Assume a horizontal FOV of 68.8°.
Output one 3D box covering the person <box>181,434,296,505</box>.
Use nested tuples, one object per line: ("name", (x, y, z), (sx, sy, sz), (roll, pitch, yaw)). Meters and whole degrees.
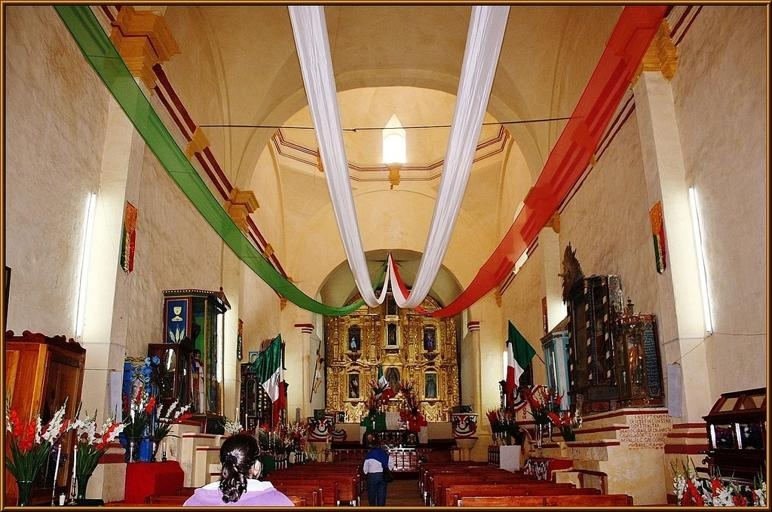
("person", (-0.983, 1.458, 3.808), (0.707, 0.466, 0.216), (3, -16, -14))

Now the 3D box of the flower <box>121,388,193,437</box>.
("flower", (-3.235, 2.184, 7.715), (0.860, 0.601, 0.856), (-16, -25, 39))

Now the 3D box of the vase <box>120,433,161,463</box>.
("vase", (-3.278, 2.573, 7.551), (0.451, 0.310, 0.465), (3, -28, -9))

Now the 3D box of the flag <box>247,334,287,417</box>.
("flag", (-2.850, 2.836, 13.463), (0.787, 1.849, 1.891), (2, -17, -12))
